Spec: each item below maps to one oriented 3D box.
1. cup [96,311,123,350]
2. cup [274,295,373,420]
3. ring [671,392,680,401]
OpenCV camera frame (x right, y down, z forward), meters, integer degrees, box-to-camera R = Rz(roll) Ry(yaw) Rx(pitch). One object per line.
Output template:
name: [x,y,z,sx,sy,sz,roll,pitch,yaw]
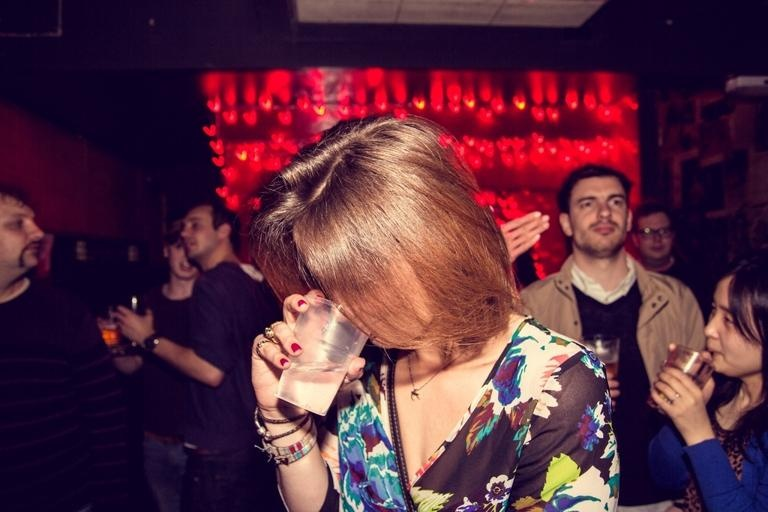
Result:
cup: [-1.810,0.482,3.806,0.071,0.223,0.168,-9,19,41]
cup: [-0.276,0.437,2.533,0.387,0.467,0.343,28,-9,6]
ring: [1.487,0.719,2.971,0.037,0.036,0.009,-1,-13,32]
